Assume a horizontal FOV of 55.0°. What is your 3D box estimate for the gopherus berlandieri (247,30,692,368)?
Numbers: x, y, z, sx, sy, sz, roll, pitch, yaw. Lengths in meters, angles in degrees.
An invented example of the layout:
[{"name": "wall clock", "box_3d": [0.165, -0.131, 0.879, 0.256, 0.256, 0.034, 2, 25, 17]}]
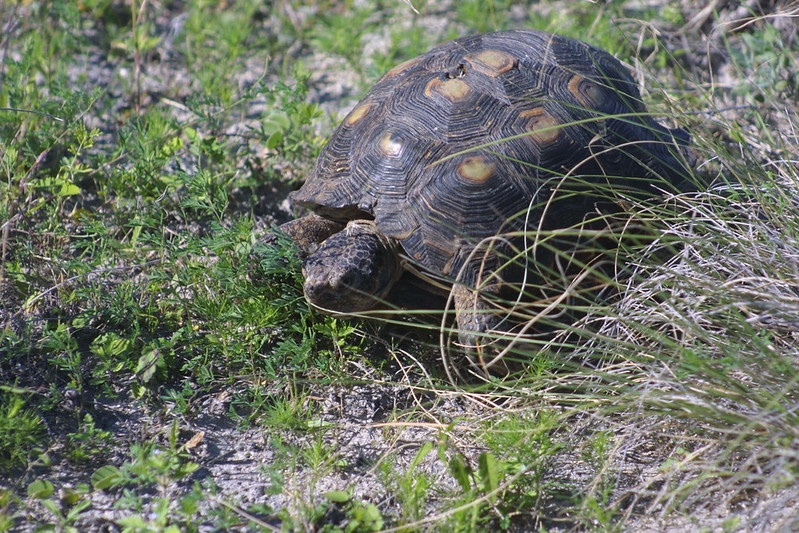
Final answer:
[{"name": "gopherus berlandieri", "box_3d": [0.398, -0.427, 3.451, 1.855, 0.717, 1.272, -42, 52, -14]}]
